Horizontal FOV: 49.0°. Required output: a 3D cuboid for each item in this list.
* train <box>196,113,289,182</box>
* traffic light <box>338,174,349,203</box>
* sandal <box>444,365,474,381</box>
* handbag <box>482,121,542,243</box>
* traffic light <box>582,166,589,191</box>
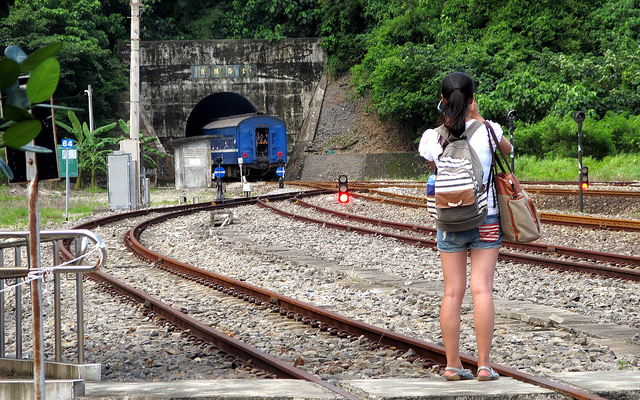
[{"bbox_3d":[-5.754,-3.487,47.371,4.101,4.430,10.218,-4,6,-32],"label":"train"},{"bbox_3d":[0.853,-0.384,25.052,0.312,0.999,1.010,-1,5,-3],"label":"traffic light"},{"bbox_3d":[1.967,2.397,9.824,0.437,0.181,0.154,-4,3,-27],"label":"sandal"},{"bbox_3d":[2.762,-0.250,9.906,0.709,1.719,0.581,3,6,42],"label":"handbag"},{"bbox_3d":[7.900,-0.681,20.973,0.182,0.588,0.523,0,5,14],"label":"traffic light"}]
